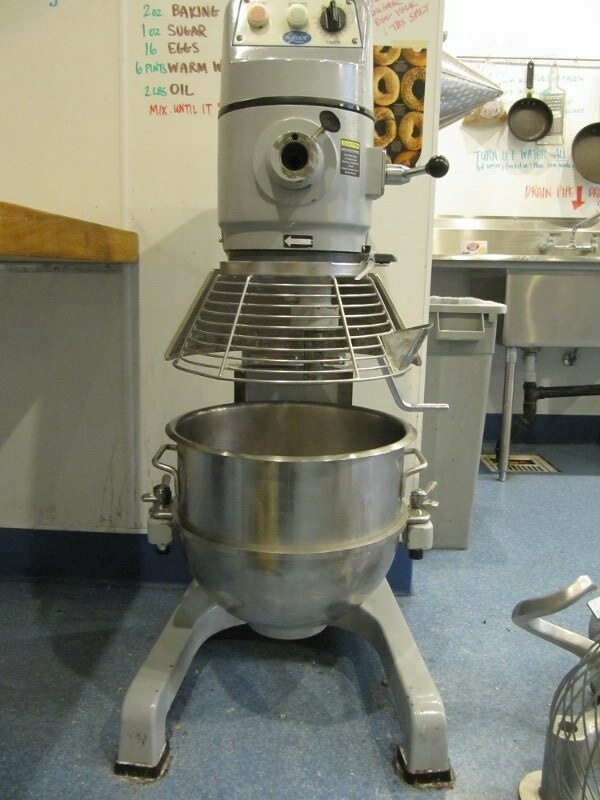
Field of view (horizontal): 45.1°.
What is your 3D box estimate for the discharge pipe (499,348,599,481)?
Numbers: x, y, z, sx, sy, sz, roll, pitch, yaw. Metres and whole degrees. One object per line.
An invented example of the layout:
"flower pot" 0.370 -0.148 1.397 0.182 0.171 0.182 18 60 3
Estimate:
"discharge pipe" 0.924 0.016 2.658 0.352 0.459 0.649 4 10 16
